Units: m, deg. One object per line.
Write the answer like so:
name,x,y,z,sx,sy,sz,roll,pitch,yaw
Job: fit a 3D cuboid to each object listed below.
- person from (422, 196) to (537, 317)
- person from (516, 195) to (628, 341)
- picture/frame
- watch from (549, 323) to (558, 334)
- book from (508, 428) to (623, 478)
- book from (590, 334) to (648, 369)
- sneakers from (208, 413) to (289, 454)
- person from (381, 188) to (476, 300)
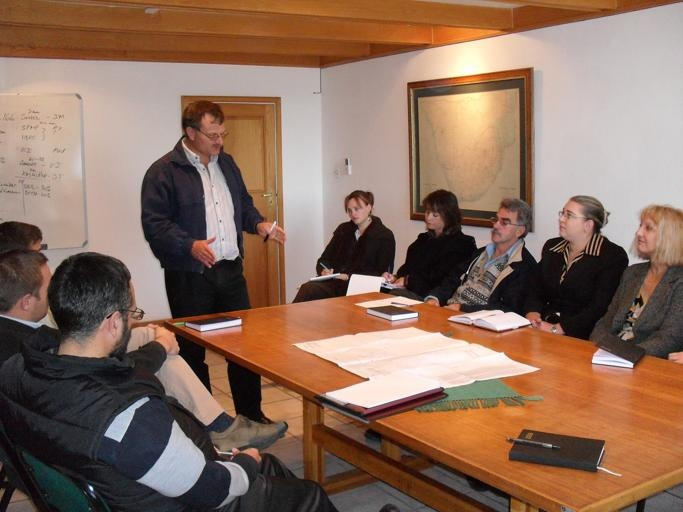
person,1.050,0.070,3.968,0.746,0.954,0.756,0,12,-36
person,1.536,0.245,3.624,0.651,1.240,0.640,-11,14,-30
picture/frame,1.235,-1.010,4.957,0.077,1.511,1.716,-4,5,-33
watch,1.340,0.456,3.370,0.061,0.019,0.062,14,27,41
book,0.658,0.580,1.600,0.296,0.040,0.164,3,9,19
book,1.189,0.422,2.312,0.137,0.039,0.147,11,24,31
sneakers,-0.439,0.855,2.647,0.422,0.199,0.152,-6,14,-13
person,0.698,-0.050,4.552,0.928,1.010,0.694,-5,10,-30
